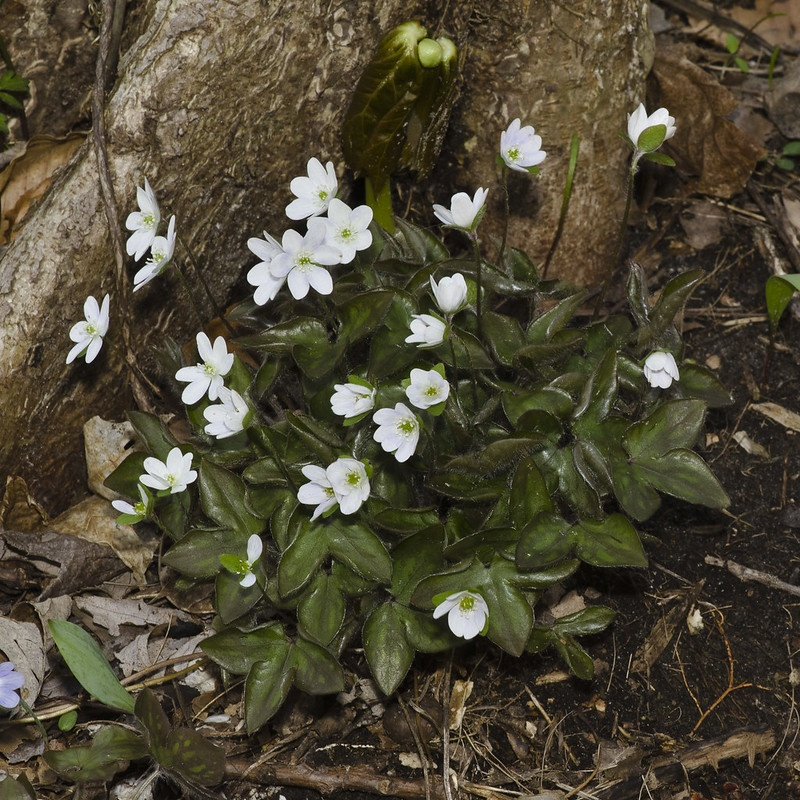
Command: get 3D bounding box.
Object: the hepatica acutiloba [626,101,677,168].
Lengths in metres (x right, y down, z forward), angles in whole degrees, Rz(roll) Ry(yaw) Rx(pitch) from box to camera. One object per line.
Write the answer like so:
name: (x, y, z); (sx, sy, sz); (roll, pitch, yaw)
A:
hepatica acutiloba: (0.609, -0.666, 2.519); (0.149, 0.146, 0.127); (19, 9, 6)

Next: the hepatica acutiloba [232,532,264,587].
hepatica acutiloba: (-0.330, 0.349, 2.246); (0.042, 0.142, 0.032); (17, 25, 22)

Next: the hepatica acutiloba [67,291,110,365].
hepatica acutiloba: (-0.818, -0.191, 2.686); (0.051, 0.189, 0.188); (29, 65, 2)

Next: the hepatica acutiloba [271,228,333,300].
hepatica acutiloba: (-0.226, -0.372, 2.381); (0.131, 0.039, 0.151); (29, 16, -4)

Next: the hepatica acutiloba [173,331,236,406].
hepatica acutiloba: (-0.483, -0.073, 2.554); (0.162, 0.054, 0.178); (29, 105, 34)

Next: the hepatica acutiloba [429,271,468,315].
hepatica acutiloba: (0.120, -0.244, 2.343); (0.089, 0.073, 0.094); (20, 40, 27)

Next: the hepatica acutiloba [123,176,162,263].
hepatica acutiloba: (-0.670, -0.463, 2.632); (0.065, 0.214, 0.194); (5, 30, -31)

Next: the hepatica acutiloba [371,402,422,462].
hepatica acutiloba: (-0.005, 0.062, 2.276); (0.086, 0.081, 0.105); (-43, 58, -19)

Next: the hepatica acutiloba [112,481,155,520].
hepatica acutiloba: (-0.632, 0.248, 2.423); (0.106, 0.040, 0.118); (-24, 52, 29)

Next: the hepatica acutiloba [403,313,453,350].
hepatica acutiloba: (0.065, -0.161, 2.309); (0.077, 0.038, 0.083); (34, 102, 25)

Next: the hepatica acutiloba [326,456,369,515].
hepatica acutiloba: (-0.112, 0.180, 2.243); (0.116, 0.047, 0.102); (1, 69, 61)

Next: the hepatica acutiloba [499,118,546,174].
hepatica acutiloba: (0.331, -0.681, 2.664); (0.103, 0.110, 0.227); (5, 57, 15)

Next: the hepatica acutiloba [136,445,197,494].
hepatica acutiloba: (-0.566, 0.192, 2.483); (0.113, 0.060, 0.131); (28, 82, 7)

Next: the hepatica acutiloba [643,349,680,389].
hepatica acutiloba: (0.642, -0.075, 2.459); (0.072, 0.095, 0.035); (1, 29, 11)

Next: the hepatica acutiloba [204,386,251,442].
hepatica acutiloba: (-0.426, 0.032, 2.486); (0.100, 0.139, 0.055); (3, 10, 23)

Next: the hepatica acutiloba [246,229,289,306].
hepatica acutiloba: (-0.303, -0.339, 2.515); (0.075, 0.178, 0.139); (-13, -1, -42)
